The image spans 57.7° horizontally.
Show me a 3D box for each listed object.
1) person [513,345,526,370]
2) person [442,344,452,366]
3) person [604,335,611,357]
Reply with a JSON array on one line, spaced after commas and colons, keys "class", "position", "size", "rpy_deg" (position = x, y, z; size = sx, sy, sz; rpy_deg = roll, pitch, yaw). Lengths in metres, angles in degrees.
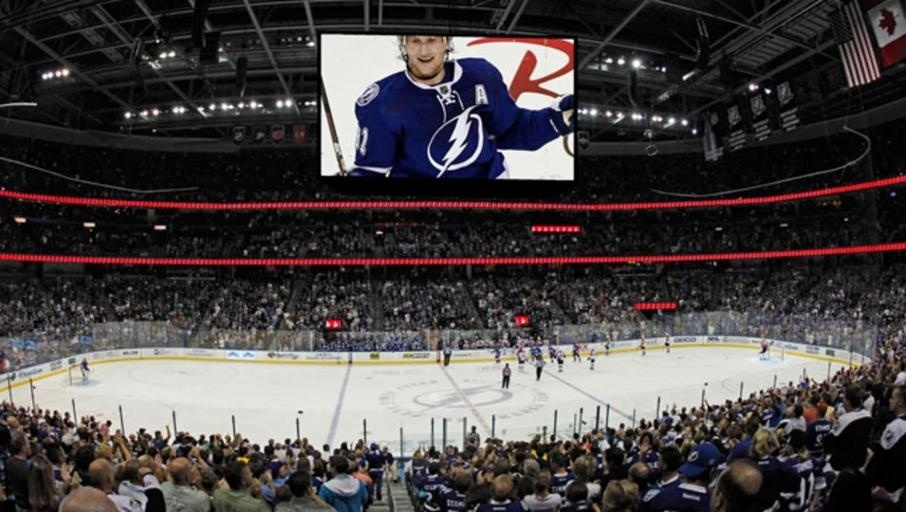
[{"class": "person", "position": [5.882, 8.508, 69.225], "size": [0.669, 2.179, 1.537], "rpy_deg": [1, -10, 2]}, {"class": "person", "position": [-0.415, 8.523, 70.946], "size": [0.700, 1.902, 1.536], "rpy_deg": [1, -10, -1]}, {"class": "person", "position": [14.143, 7.995, 74.732], "size": [0.862, 1.546, 0.291], "rpy_deg": [9, -13, -37]}]
